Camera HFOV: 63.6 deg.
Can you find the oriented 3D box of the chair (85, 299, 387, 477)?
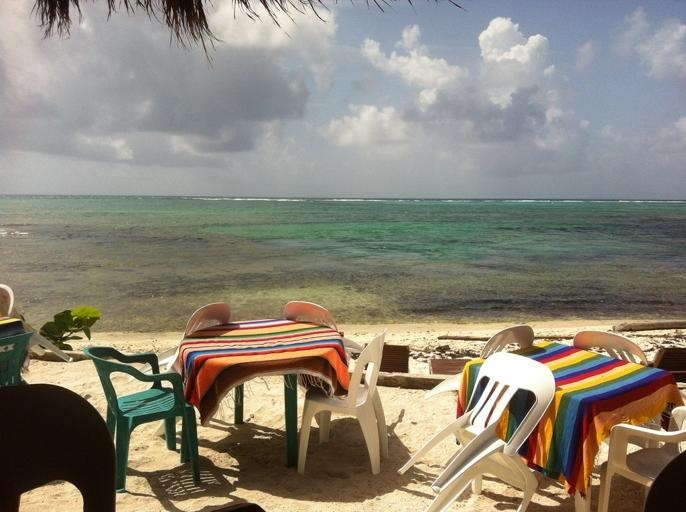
[{"bbox_3d":[-0.643,1.370,5.998,2.318,1.473,1.533,1,6,-6],"label":"chair"}]
